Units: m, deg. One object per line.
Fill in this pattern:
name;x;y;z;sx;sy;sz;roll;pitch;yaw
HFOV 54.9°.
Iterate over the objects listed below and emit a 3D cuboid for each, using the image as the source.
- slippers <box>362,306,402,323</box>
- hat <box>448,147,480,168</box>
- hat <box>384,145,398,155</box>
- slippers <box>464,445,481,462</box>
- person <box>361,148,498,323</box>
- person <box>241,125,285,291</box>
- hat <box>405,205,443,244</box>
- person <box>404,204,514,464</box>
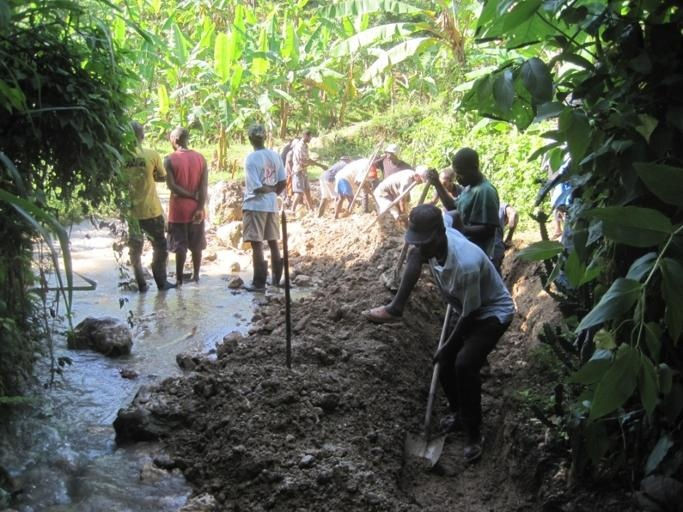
slippers;0.352;0.518;5.767;0.279;0.124;0.164;4;-3;1
hat;1.171;-0.884;6.124;0.213;0.236;0.163;26;35;36
hat;0.919;-1.945;11.882;0.221;0.123;0.170;21;-4;-35
slippers;1.046;1.569;5.231;0.105;0.057;0.137;-26;14;41
person;0.930;-0.171;6.269;1.205;1.770;0.706;9;2;2
person;-1.023;-0.617;8.770;0.565;2.199;0.843;-1;7;-9
hat;0.638;-0.209;4.940;0.224;0.180;0.315;10;50;39
person;0.900;0.613;5.196;0.886;2.025;0.530;-3;7;-28
